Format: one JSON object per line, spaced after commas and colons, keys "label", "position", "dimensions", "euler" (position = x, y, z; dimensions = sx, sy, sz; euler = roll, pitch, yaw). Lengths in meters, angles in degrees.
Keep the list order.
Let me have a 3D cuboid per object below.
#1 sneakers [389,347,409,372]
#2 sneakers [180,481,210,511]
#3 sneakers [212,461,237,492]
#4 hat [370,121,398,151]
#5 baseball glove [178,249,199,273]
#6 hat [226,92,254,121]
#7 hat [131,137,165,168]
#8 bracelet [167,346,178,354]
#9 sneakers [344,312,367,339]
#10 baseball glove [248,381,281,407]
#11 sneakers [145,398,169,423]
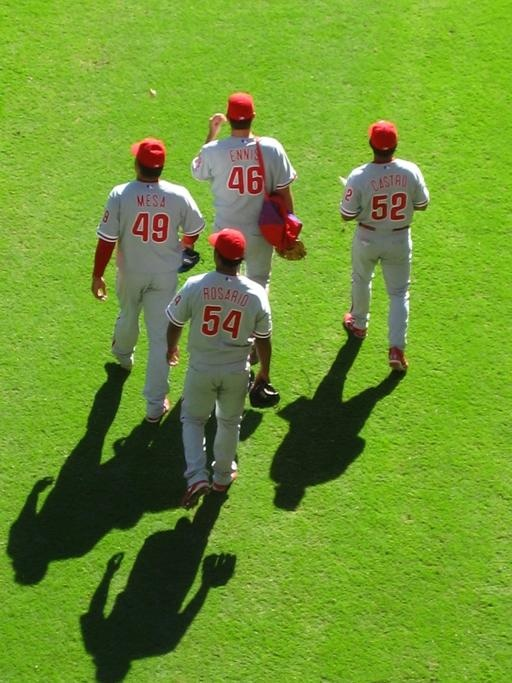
{"label": "sneakers", "position": [1.045, 0.140, 6.988], "dimensions": [0.102, 0.153, 0.248], "euler": [-1, 15, 11]}
{"label": "sneakers", "position": [-0.386, 0.952, 5.920], "dimensions": [0.113, 0.234, 0.122], "euler": [14, 34, -39]}
{"label": "sneakers", "position": [-0.200, 0.864, 6.302], "dimensions": [0.111, 0.113, 0.267], "euler": [11, 43, 10]}
{"label": "hat", "position": [0.879, -1.417, 6.584], "dimensions": [0.192, 0.126, 0.205], "euler": [3, 64, 4]}
{"label": "baseball glove", "position": [-0.463, -0.544, 6.547], "dimensions": [0.137, 0.064, 0.173], "euler": [15, 53, 7]}
{"label": "hat", "position": [-0.112, -1.576, 6.466], "dimensions": [0.189, 0.118, 0.214], "euler": [1, 48, -1]}
{"label": "hat", "position": [-0.694, -1.198, 6.080], "dimensions": [0.192, 0.126, 0.227], "euler": [-6, 42, -15]}
{"label": "bracelet", "position": [-0.509, 0.055, 5.930], "dimensions": [0.070, 0.058, 0.032], "euler": [0, 65, -8]}
{"label": "sneakers", "position": [0.742, -0.128, 7.337], "dimensions": [0.116, 0.101, 0.254], "euler": [-15, 40, -16]}
{"label": "baseball glove", "position": [0.024, 0.353, 6.151], "dimensions": [0.145, 0.206, 0.174], "euler": [20, 73, -39]}
{"label": "sneakers", "position": [-0.713, 0.446, 6.661], "dimensions": [0.099, 0.160, 0.239], "euler": [16, 46, 4]}
